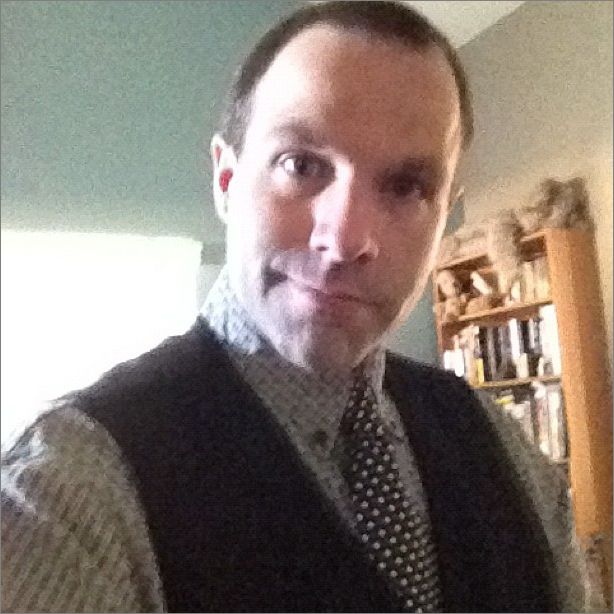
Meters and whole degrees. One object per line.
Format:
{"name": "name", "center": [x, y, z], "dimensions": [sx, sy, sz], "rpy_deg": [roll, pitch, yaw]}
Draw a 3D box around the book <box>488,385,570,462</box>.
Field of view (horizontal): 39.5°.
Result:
{"name": "book", "center": [0.332, 0.164, 1.317], "dimensions": [0.113, 0.118, 0.035], "rpy_deg": [-7, 2, 0]}
